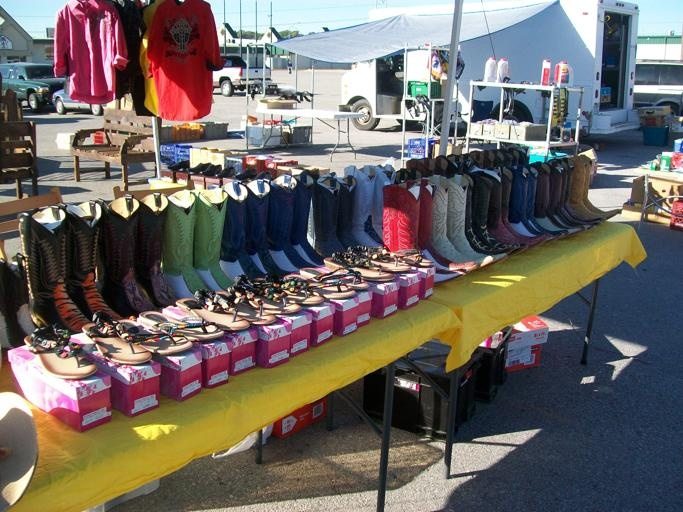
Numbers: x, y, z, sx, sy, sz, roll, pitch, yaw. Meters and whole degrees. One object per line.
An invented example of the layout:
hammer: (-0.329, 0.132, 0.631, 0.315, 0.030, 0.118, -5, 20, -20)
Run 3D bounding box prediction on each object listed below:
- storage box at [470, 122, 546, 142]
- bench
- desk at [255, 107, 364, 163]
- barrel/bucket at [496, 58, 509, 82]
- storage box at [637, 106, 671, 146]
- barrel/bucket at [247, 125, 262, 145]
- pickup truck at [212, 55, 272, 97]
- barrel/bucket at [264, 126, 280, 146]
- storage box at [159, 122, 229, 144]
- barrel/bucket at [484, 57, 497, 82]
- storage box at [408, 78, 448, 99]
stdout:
storage box: (2.806, -1.791, 9.982, 1.226, 0.292, 0.638, 2, 14, 11)
bench: (-3.785, -1.439, 9.890, 2.028, 1.364, 0.888, 19, 26, 40)
desk: (-0.743, -2.433, 14.069, 0.837, 1.051, 2.834, -13, 23, -36)
barrel/bucket: (3.201, -3.232, 11.727, 0.223, 0.423, 0.996, 2, 14, 13)
storage box: (7.858, -2.747, 14.749, 0.681, 0.919, 0.989, 7, 15, 30)
barrel/bucket: (-2.037, -2.366, 13.822, 0.365, 0.481, 0.485, 7, 12, 22)
pickup truck: (-4.882, -7.228, 27.210, 1.832, 1.452, 3.779, -7, 18, -34)
barrel/bucket: (-1.662, -2.430, 13.951, 0.213, 0.341, 0.366, 10, 18, 32)
storage box: (-3.644, -2.588, 14.521, 0.475, 0.414, 2.343, 6, 15, 28)
barrel/bucket: (3.008, -3.275, 11.847, 0.228, 0.443, 0.620, 3, 14, 15)
storage box: (1.725, -3.003, 12.275, 0.443, 0.340, 0.971, -11, 17, -38)
